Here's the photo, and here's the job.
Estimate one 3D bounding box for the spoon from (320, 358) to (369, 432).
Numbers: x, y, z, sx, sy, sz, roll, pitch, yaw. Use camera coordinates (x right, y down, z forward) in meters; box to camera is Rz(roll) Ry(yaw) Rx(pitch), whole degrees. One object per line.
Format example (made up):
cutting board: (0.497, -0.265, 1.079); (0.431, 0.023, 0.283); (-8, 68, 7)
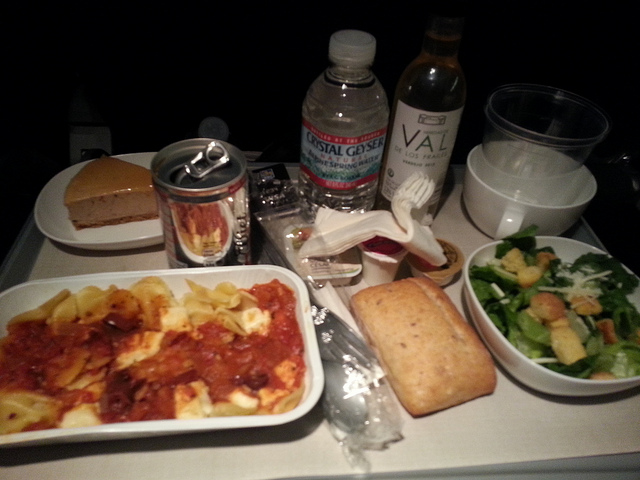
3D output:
spoon: (0.044, 0.306, 0.977); (0.086, 0.033, 0.147); (-11, 51, -9)

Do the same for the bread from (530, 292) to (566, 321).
bread: (0.483, 0.137, 1.037); (0.057, 0.019, 0.058); (33, 69, 22)

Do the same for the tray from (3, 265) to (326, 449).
tray: (-0.302, 0.194, 0.958); (0.558, 0.083, 0.339); (-3, 60, -6)

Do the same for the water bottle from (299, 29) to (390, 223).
water bottle: (0.041, -0.220, 1.226); (0.198, 0.556, 0.197); (3, 25, -1)

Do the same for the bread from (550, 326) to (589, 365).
bread: (0.502, 0.216, 0.993); (0.059, 0.025, 0.076); (-27, 72, 1)

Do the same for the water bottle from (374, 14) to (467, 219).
water bottle: (0.247, -0.306, 1.136); (0.161, 0.549, 0.175); (3, 28, -1)

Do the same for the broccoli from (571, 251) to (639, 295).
broccoli: (0.651, 0.074, 1.124); (0.121, 0.037, 0.095); (8, 48, 21)

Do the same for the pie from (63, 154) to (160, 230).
pie: (-0.533, -0.125, 1.266); (0.179, 0.220, 0.217); (20, 29, 39)

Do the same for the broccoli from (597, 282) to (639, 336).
broccoli: (0.651, 0.150, 1.088); (0.074, 0.032, 0.116); (-4, 64, -5)

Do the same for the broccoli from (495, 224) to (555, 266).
broccoli: (0.479, -0.007, 1.147); (0.136, 0.034, 0.113); (-30, 14, -40)

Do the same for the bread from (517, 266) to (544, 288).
bread: (0.471, 0.079, 1.091); (0.054, 0.014, 0.040); (-18, 59, 17)

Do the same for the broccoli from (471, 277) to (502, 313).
broccoli: (0.368, 0.122, 1.087); (0.048, 0.016, 0.075); (-33, 79, -9)
